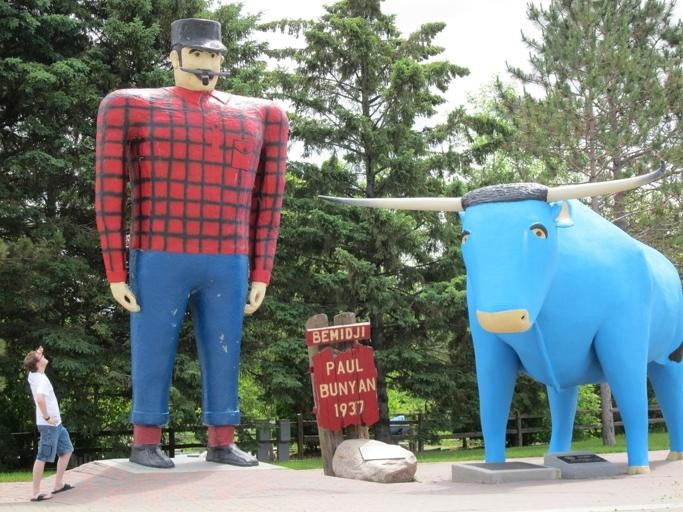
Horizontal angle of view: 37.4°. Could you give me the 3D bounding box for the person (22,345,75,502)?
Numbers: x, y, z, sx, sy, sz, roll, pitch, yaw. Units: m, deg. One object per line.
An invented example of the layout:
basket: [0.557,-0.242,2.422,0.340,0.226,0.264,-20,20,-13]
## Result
person: [-4.001,2.386,13.700,0.609,2.120,1.374,0,8,-17]

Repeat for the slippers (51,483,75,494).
slippers: [-3.701,3.096,13.330,0.285,0.085,0.101,-11,1,-14]

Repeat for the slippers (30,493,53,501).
slippers: [-3.958,3.182,13.180,0.221,0.060,0.108,-7,-6,22]
